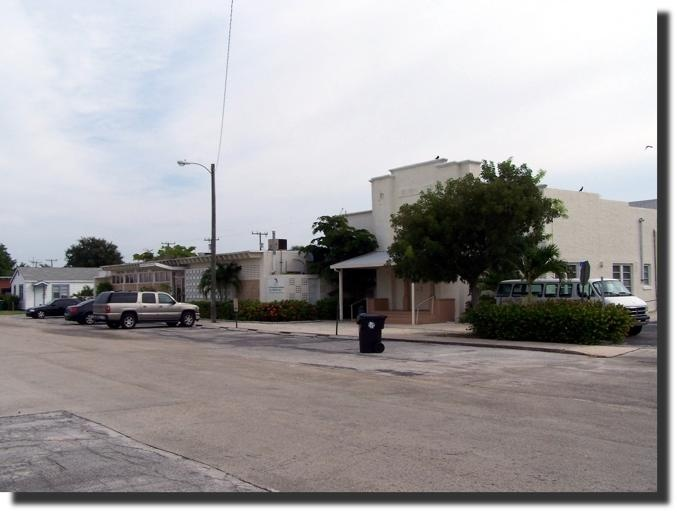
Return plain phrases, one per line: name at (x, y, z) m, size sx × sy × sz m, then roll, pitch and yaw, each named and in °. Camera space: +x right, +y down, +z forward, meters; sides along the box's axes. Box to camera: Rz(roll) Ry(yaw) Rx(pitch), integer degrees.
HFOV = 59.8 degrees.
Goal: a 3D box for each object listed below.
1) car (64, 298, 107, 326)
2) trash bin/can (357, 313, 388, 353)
car at (-15.454, 3.622, 37.830) m, size 4.092 × 1.539 × 1.926 m, roll -1°, pitch 1°, yaw -29°
trash bin/can at (0.918, 2.607, 19.980) m, size 1.293 × 1.402 × 1.096 m, roll 1°, pitch -1°, yaw 25°
